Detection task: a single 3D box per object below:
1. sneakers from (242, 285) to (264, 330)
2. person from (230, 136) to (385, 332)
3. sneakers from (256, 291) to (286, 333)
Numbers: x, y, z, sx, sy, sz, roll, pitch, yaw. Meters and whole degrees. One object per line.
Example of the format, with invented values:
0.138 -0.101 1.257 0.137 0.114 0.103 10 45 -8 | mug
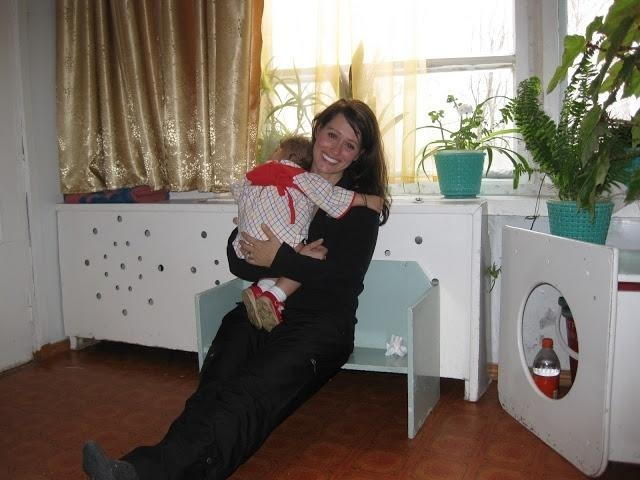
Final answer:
-0.260 0.248 1.829 0.074 0.183 0.059 -14 2 -34 | sneakers
-0.079 -0.051 2.081 0.526 0.765 0.322 4 -4 24 | person
-0.189 0.296 1.864 0.061 0.182 0.074 16 42 38 | sneakers
